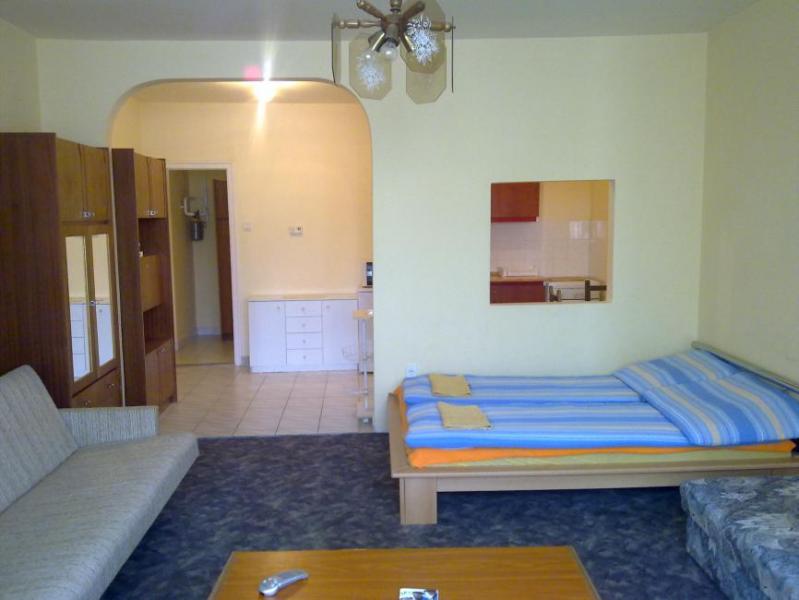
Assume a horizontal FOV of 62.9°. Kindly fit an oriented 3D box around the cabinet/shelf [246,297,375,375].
[{"bbox_3d":[-1.091,0.415,7.840,1.327,0.875,0.473,-1,2,3],"label":"cabinet/shelf"}]
